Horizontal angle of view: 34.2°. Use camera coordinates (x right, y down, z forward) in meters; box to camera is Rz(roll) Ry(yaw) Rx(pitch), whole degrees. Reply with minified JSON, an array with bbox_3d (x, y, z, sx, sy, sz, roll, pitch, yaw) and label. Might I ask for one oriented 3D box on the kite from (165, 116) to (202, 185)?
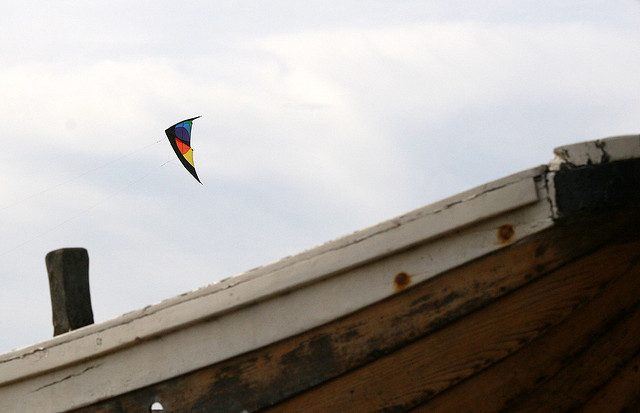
[{"bbox_3d":[-1.021,-0.483,7.742,0.015,0.236,0.663,-56,-8,-7],"label":"kite"}]
